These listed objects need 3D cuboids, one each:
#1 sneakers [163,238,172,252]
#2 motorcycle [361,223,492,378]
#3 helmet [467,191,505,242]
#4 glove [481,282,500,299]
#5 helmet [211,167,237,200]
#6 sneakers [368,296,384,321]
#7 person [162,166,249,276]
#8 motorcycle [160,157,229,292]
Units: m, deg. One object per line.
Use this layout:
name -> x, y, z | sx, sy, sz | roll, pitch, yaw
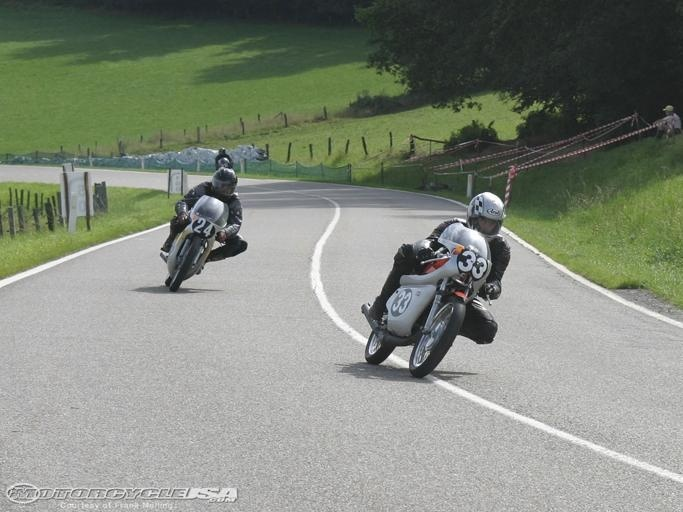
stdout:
sneakers -> -2.849, -0.181, 16.002 | 0.091, 0.134, 0.381 | -19, 15, 8
motorcycle -> 0.936, 0.455, 11.047 | 0.794, 1.821, 2.841 | 27, -8, -9
helmet -> 1.634, -0.444, 10.956 | 0.447, 0.539, 0.571 | 11, 15, -5
glove -> 1.633, 0.365, 10.606 | 0.153, 0.200, 0.173 | -9, 13, -33
helmet -> -1.850, -1.201, 15.572 | 0.373, 0.458, 0.480 | 6, 10, -8
sneakers -> 0.407, 0.590, 10.992 | 0.223, 0.319, 0.107 | -2, -12, 8
person -> -2.317, -0.271, 15.847 | 1.143, 1.505, 2.666 | 25, -3, -7
motorcycle -> -2.273, -0.141, 15.005 | 0.608, 1.361, 1.214 | 24, 30, 25
